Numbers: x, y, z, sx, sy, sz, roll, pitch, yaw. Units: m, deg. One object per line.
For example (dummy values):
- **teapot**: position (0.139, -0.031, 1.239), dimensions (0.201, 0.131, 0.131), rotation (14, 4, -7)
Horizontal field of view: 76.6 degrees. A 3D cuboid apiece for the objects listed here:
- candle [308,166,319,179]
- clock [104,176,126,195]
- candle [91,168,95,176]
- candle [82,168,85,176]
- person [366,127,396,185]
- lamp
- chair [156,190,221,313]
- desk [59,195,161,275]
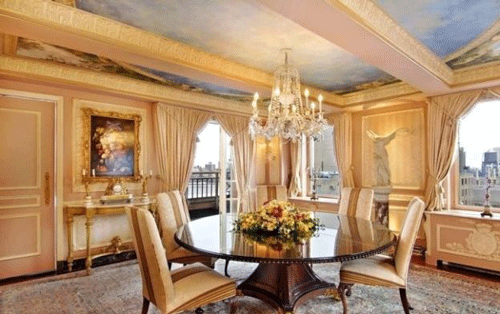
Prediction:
- **candle**: position (1.663, 0.389, 8.277), dimensions (0.285, 0.346, 0.371), rotation (3, -7, -9)
- **clock**: position (-2.662, 0.577, 6.204), dimensions (0.377, 0.288, 0.086), rotation (5, -9, -42)
- **candle**: position (-3.002, 0.306, 6.070), dimensions (0.050, 0.141, 0.135), rotation (0, -2, -25)
- **candle**: position (-3.134, 0.296, 5.977), dimensions (0.046, 0.130, 0.140), rotation (0, -2, -22)
- **person**: position (2.680, 0.011, 6.421), dimensions (0.541, 1.141, 0.315), rotation (-2, -2, 23)
- **lamp**: position (0.620, -1.182, 5.328), dimensions (1.224, 1.392, 1.239), rotation (-8, 9, -32)
- **chair**: position (-0.898, 1.316, 5.271), dimensions (1.207, 1.479, 1.194), rotation (-6, 4, -38)
- **desk**: position (-2.512, 1.352, 5.475), dimensions (0.521, 0.937, 1.517), rotation (-7, -8, 44)
